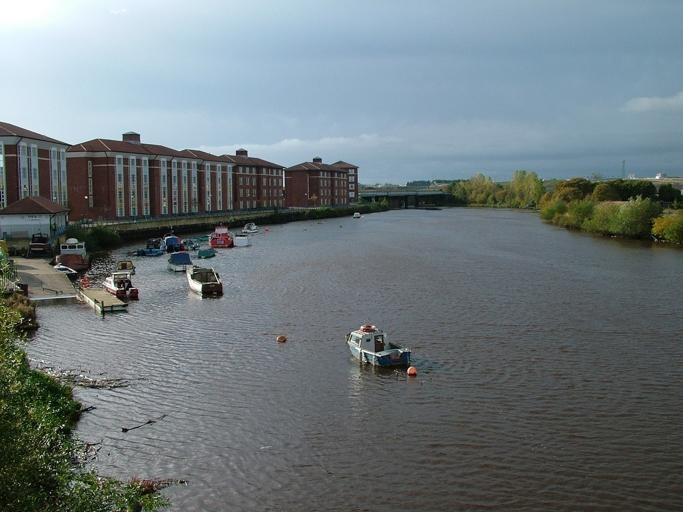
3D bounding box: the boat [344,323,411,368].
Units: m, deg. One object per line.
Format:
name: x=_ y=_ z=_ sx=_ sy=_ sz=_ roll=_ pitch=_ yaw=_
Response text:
boat: x=1.982 y=4.952 z=37.635 sx=3.369 sy=1.430 sz=1.686 roll=13 pitch=19 yaw=43
